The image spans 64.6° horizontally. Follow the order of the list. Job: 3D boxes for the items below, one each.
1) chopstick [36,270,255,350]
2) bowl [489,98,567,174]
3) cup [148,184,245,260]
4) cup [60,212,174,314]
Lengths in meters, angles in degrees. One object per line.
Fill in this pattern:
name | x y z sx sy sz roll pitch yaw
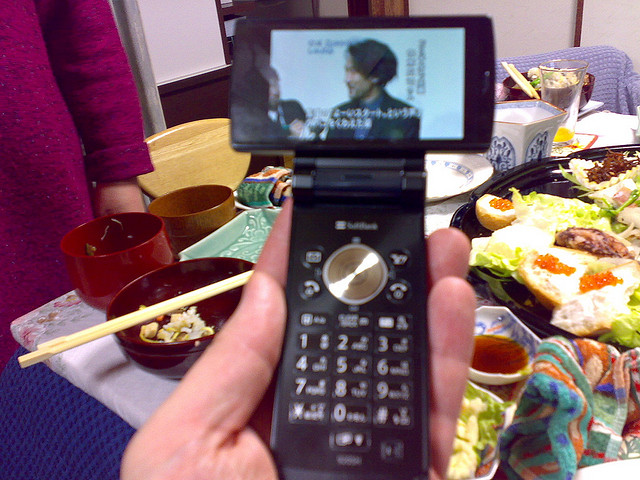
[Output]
chopstick | -0.284 0.120 0.861 0.402 0.016 0.019 -21 24 -30
bowl | 0.541 -0.260 1.266 0.104 0.123 0.122 -25 26 9
cup | -0.280 -0.080 1.164 0.232 0.156 0.268 -9 21 -29
cup | -0.366 0.012 0.991 0.207 0.158 0.213 -1 20 0
